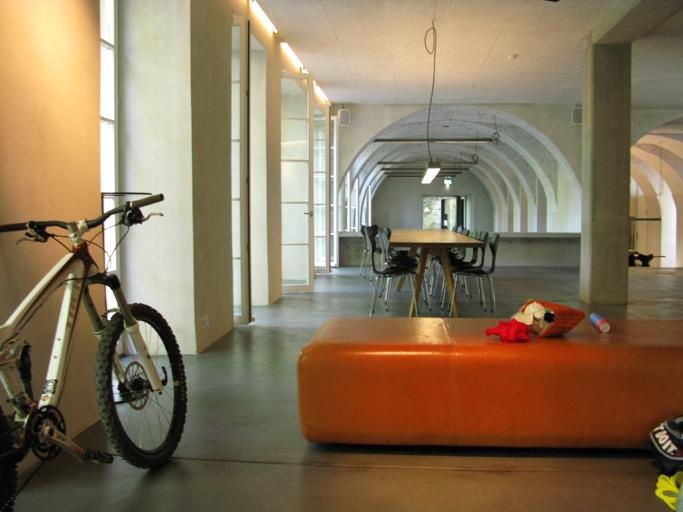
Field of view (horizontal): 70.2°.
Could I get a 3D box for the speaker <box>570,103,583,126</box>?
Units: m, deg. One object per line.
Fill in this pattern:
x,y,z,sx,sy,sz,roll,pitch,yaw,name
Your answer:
5.449,-3.335,11.345,0.191,0.495,0.112,1,6,12,speaker

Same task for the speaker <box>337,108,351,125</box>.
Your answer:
0.092,-3.348,11.586,0.246,0.397,0.534,1,6,10,speaker

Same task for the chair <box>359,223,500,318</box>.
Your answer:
1.208,0.156,6.894,1.162,1.059,2.646,1,5,9,chair
